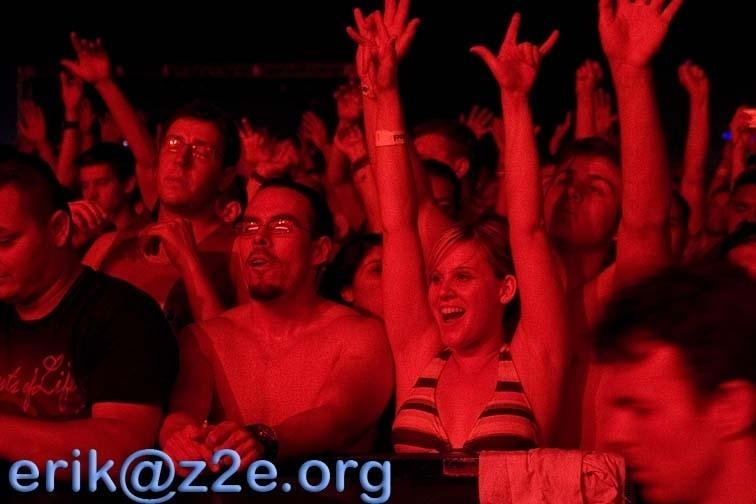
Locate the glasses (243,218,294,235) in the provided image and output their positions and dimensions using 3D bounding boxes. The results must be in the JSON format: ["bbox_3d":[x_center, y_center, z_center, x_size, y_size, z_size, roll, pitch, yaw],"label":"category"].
[{"bbox_3d":[-0.796,-0.184,5.969,0.388,0.140,0.059,7,19,3],"label":"glasses"}]

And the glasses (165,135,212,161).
[{"bbox_3d":[-1.429,-0.790,6.199,0.363,0.148,0.062,7,19,4],"label":"glasses"}]
